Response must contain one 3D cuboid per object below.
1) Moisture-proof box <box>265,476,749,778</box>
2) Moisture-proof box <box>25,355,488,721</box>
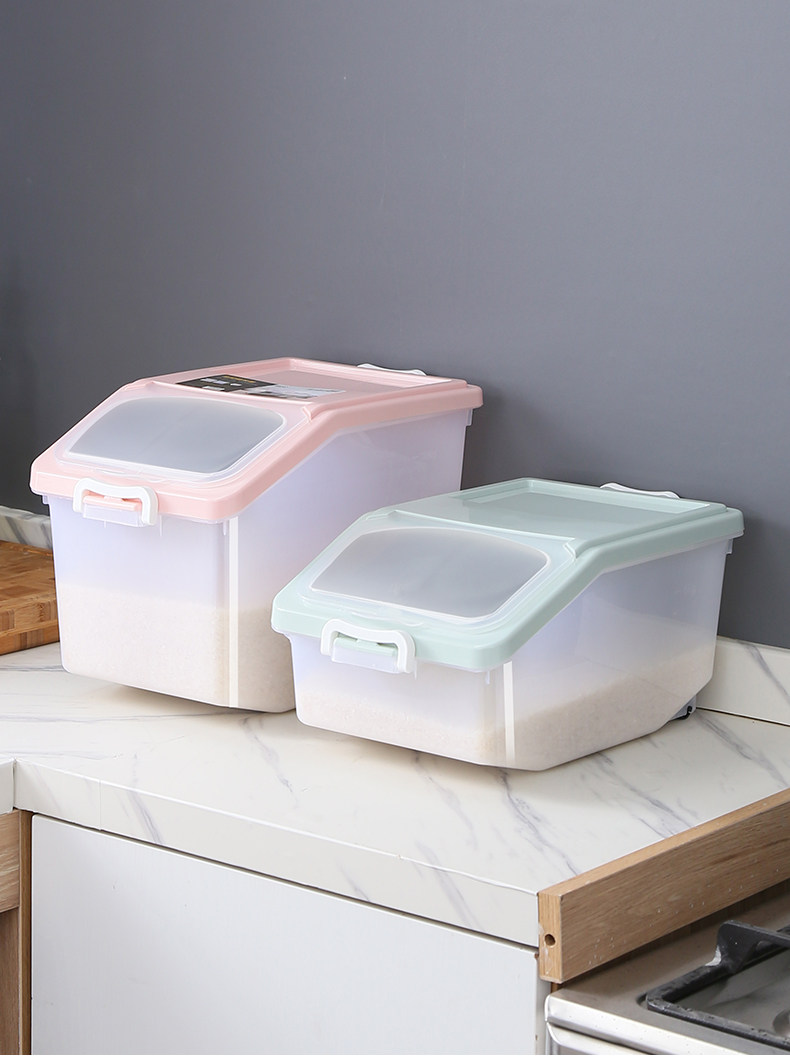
[{"bbox_3d":[0.118,0.067,1.070,0.262,0.166,0.385,7,11,44],"label":"Moisture-proof box"},{"bbox_3d":[-0.172,-0.007,1.277,0.334,0.282,0.484,9,13,41],"label":"Moisture-proof box"}]
